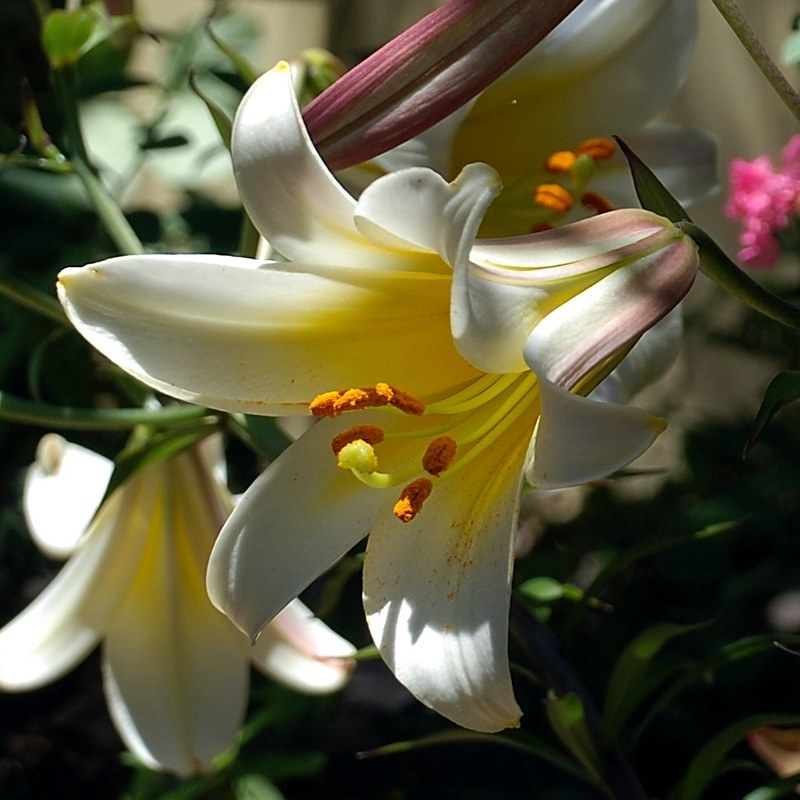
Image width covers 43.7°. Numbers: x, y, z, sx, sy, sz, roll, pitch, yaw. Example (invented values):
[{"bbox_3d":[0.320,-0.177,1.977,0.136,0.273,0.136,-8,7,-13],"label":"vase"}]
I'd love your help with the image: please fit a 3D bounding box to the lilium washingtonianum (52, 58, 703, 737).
[{"bbox_3d":[0.048,-0.002,0.586,0.411,0.345,0.165,17,24,29],"label":"lilium washingtonianum"}]
